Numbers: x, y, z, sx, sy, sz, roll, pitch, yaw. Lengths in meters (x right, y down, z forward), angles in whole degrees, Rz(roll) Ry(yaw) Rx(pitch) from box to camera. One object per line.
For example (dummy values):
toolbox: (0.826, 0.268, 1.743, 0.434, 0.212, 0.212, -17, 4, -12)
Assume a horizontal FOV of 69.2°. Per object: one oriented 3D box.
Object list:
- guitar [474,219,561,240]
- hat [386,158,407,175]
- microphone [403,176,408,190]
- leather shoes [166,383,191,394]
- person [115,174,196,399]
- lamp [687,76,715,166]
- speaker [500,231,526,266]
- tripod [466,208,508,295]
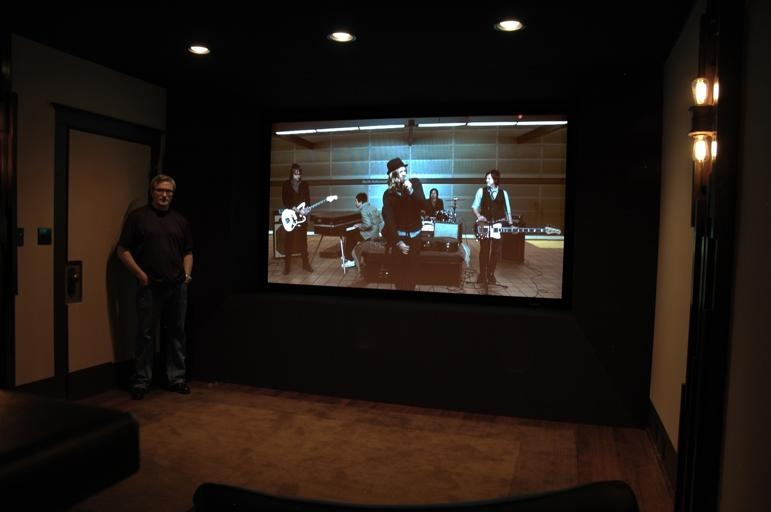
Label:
guitar: (1.168, -0.220, 4.961, 0.750, 0.161, 0.041, 4, 11, 14)
hat: (0.102, -0.839, 5.238, 0.172, 0.066, 0.133, -26, -4, 41)
microphone: (0.195, -0.672, 5.196, 0.059, 0.084, 0.023, 2, 3, 11)
leather shoes: (-1.932, 1.233, 5.269, 0.226, 0.093, 0.089, 3, 3, 3)
person: (-2.075, 0.281, 5.130, 0.640, 1.976, 0.423, -5, 12, -26)
lamp: (1.806, -0.769, 3.174, 0.156, 0.455, 0.154, -4, 7, -5)
speaker: (1.140, -0.078, 4.963, 0.245, 0.344, 0.244, 0, -7, 7)
tripod: (0.928, -0.040, 5.018, 0.326, 0.759, 0.084, 6, 5, 8)
